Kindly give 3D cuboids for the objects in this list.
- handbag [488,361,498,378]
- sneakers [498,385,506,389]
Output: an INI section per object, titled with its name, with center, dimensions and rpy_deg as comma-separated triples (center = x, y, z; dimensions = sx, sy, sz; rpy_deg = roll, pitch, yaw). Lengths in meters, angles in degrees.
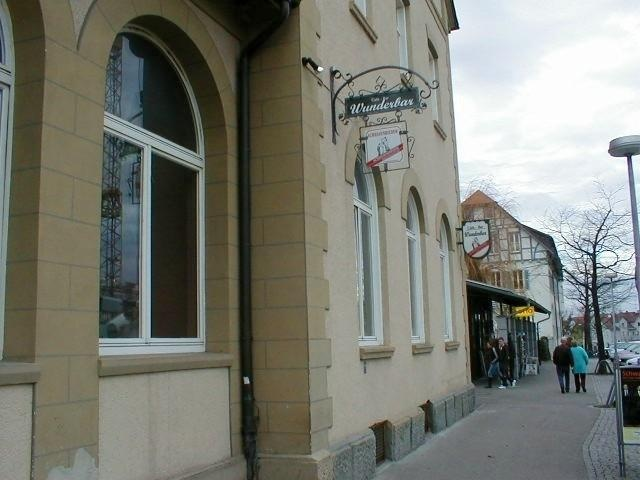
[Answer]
[handbag]
center = 6.656, 4.985, 22.153
dimensions = 0.345, 0.584, 1.284
rpy_deg = -6, -12, 15
[sneakers]
center = 6.820, 5.510, 21.680
dimensions = 0.162, 0.149, 0.451
rpy_deg = -1, -5, -6
